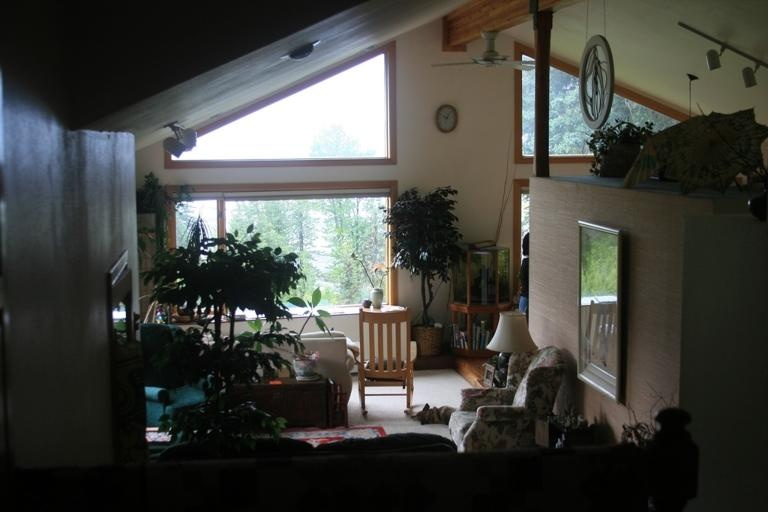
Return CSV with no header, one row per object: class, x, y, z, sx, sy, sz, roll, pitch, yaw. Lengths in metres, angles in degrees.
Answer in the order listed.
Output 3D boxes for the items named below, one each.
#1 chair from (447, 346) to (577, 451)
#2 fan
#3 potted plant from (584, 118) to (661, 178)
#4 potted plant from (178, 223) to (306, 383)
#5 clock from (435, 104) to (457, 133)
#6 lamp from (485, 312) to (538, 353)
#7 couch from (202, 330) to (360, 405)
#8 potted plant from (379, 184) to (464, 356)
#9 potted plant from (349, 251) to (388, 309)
chair,1.199,1.349,6.097,1.132,1.148,0.893,1,0,-1
fan,1.247,-2.370,7.078,1.215,0.374,1.014,7,28,20
potted plant,2.094,-0.980,5.494,0.484,0.404,0.436,7,14,-19
potted plant,-0.822,0.218,3.606,0.971,1.043,0.768,0,-3,-7
clock,0.954,-2.090,9.429,0.397,0.384,0.071,0,7,-17
lamp,1.334,0.758,6.434,0.560,0.389,0.574,3,5,21
couch,-0.895,1.422,7.725,1.234,0.859,1.280,-6,-14,31
potted plant,0.602,0.129,9.056,1.112,2.483,1.005,-2,-14,7
potted plant,-0.182,0.372,9.382,0.611,0.795,0.446,-6,-10,11
